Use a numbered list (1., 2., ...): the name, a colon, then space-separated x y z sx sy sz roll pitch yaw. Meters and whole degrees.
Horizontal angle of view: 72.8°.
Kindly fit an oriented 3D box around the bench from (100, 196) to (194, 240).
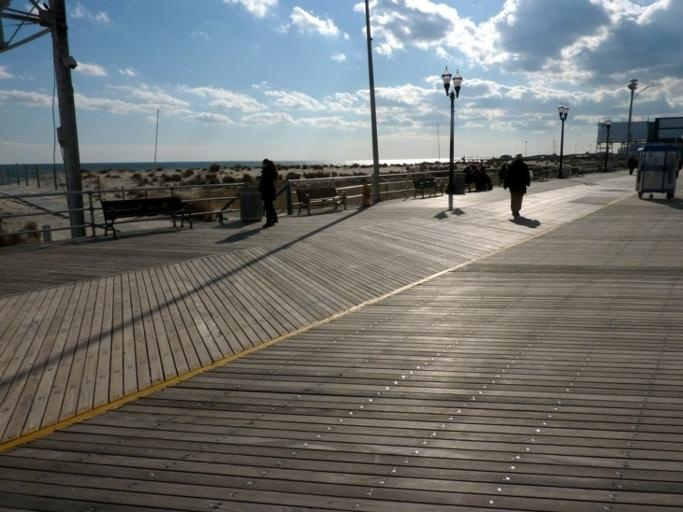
1. bench: -6.058 -1.138 14.479 0.596 0.677 2.296 37 26 29
